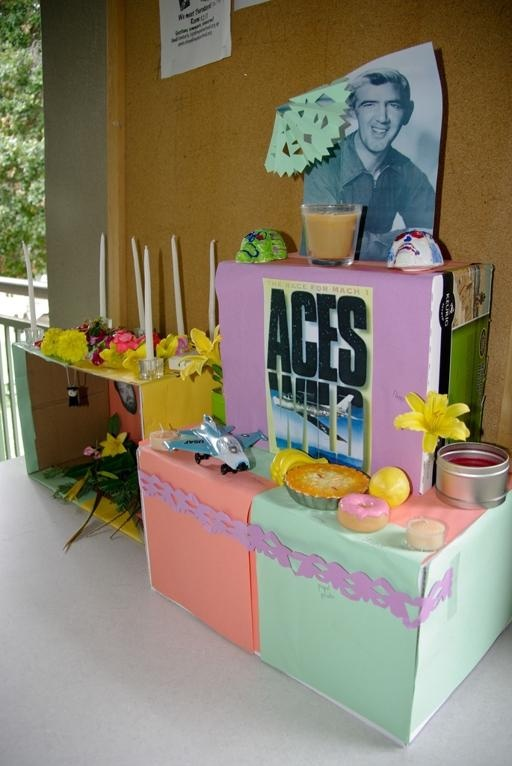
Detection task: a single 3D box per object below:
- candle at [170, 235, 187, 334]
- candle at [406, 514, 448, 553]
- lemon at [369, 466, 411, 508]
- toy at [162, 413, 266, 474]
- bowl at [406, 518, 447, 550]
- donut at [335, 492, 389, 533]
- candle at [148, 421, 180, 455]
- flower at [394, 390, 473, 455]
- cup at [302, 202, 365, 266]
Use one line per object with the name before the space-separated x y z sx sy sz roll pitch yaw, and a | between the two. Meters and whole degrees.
candle | -0.151 -0.189 1.185 0.019 0.201 0.020 12 25 32
candle | 0.166 0.149 0.585 0.029 0.020 0.028 -9 22 -21
lemon | 0.147 0.116 0.678 0.044 0.043 0.050 -9 -10 8
toy | -0.053 0.080 0.813 0.097 0.038 0.090 -15 32 -28
bowl | 0.165 0.149 0.585 0.027 0.020 0.027 -1 20 0
donut | 0.113 0.141 0.638 0.050 0.029 0.047 10 17 41
candle | -0.137 0.085 0.880 0.037 0.038 0.039 13 20 30
flower | 0.201 0.055 0.671 0.071 0.075 0.042 -6 -15 13
cup | 0.089 -0.185 0.737 0.076 0.066 0.071 0 17 0
